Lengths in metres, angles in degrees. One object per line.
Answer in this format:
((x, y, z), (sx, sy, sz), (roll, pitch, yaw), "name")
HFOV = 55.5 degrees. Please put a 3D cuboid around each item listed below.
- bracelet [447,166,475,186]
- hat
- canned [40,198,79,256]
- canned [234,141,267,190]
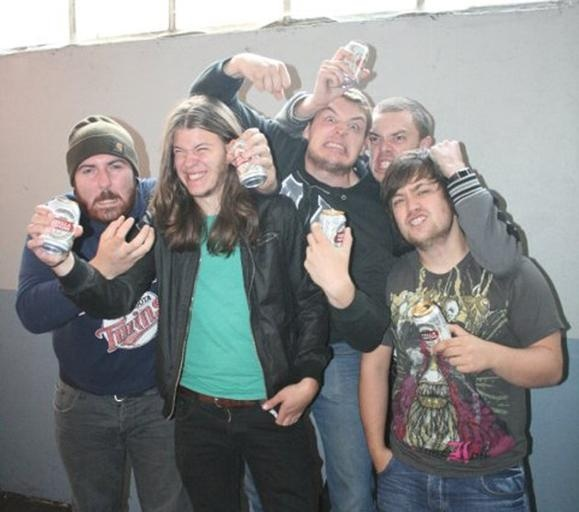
((0.601, -0.273, 1.937), (0.056, 0.029, 0.072), (-34, 4, -41), "bracelet")
((-0.769, -0.433, 2.332), (0.275, 0.281, 0.263), (-2, 1, 25), "hat")
((-0.757, -0.096, 1.815), (0.108, 0.191, 0.106), (16, -35, -9), "canned")
((-0.130, -0.319, 1.887), (0.090, 0.154, 0.090), (-19, -34, -21), "canned")
